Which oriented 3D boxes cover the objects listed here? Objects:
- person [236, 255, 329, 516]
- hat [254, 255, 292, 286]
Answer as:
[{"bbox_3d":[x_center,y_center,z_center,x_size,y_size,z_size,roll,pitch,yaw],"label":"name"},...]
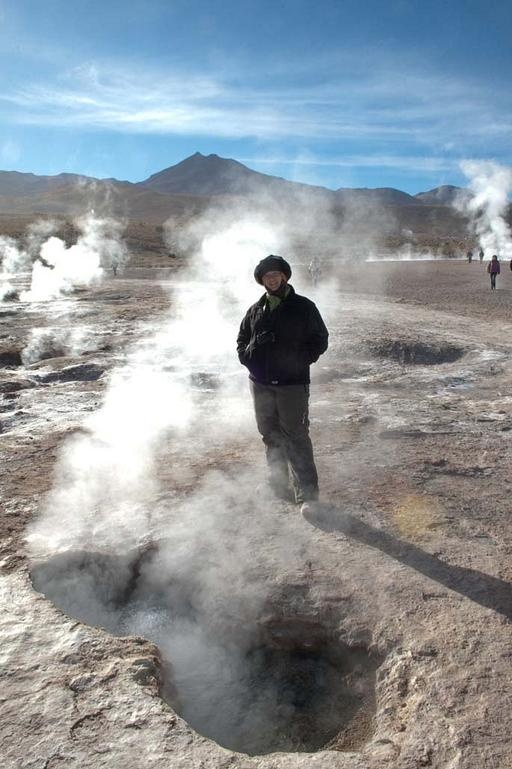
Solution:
[{"bbox_3d":[0.162,-0.024,3.638,0.360,1.478,0.605,-8,11,-39],"label":"person"},{"bbox_3d":[0.089,-0.668,3.513,0.195,0.171,0.261,0,9,3],"label":"hat"}]
